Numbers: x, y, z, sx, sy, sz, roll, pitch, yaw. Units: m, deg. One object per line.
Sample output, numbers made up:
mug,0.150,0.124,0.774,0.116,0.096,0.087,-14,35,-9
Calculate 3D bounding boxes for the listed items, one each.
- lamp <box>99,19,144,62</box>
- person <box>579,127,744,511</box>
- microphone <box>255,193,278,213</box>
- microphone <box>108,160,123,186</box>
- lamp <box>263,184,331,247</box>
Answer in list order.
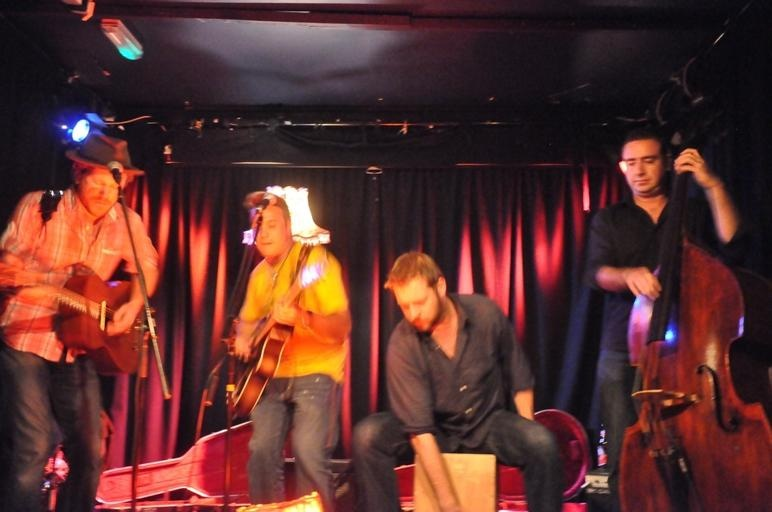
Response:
lamp,-2.048,-1.675,6.133,0.244,0.147,0.444,-1,-9,7
person,2.176,0.408,5.854,0.823,2.640,1.041,18,-18,-23
microphone,-0.923,-0.421,6.143,0.162,0.151,0.102,-39,-62,12
microphone,-1.923,-0.588,5.607,0.081,0.194,0.134,2,-9,-14
lamp,-0.691,-0.351,6.555,0.451,0.613,0.238,3,-26,-43
